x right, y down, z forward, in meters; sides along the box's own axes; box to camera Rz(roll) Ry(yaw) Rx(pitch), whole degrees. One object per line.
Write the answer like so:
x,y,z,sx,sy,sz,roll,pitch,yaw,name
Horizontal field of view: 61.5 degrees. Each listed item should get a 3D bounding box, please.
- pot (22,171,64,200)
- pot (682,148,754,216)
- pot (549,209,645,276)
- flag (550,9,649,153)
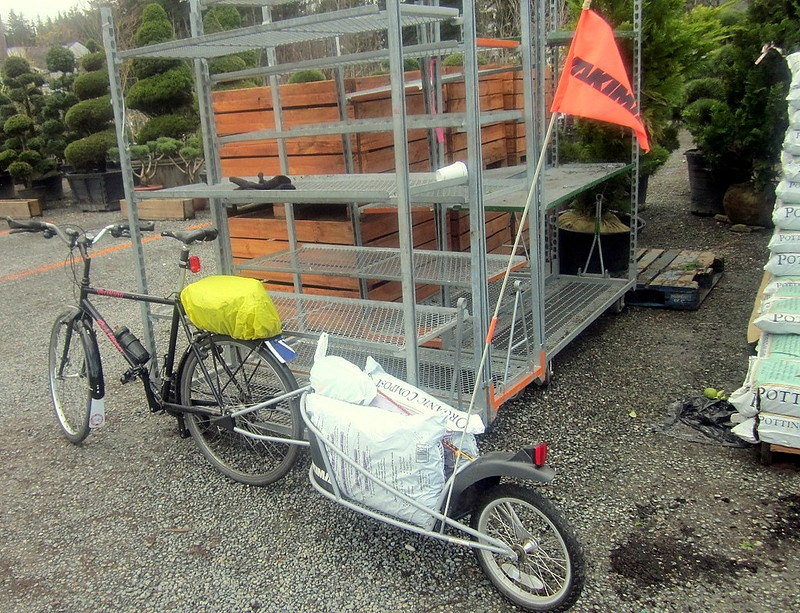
-7.543,-2.544,14.236,0.645,0.413,0.654,0,5,0,pot
4.003,-1.605,8.720,0.798,0.826,0.857,-4,16,1,pot
1.987,-0.757,6.773,0.770,0.473,0.752,0,13,0,pot
1.088,-1.306,3.690,0.440,0.642,0.315,1,16,19,flag
